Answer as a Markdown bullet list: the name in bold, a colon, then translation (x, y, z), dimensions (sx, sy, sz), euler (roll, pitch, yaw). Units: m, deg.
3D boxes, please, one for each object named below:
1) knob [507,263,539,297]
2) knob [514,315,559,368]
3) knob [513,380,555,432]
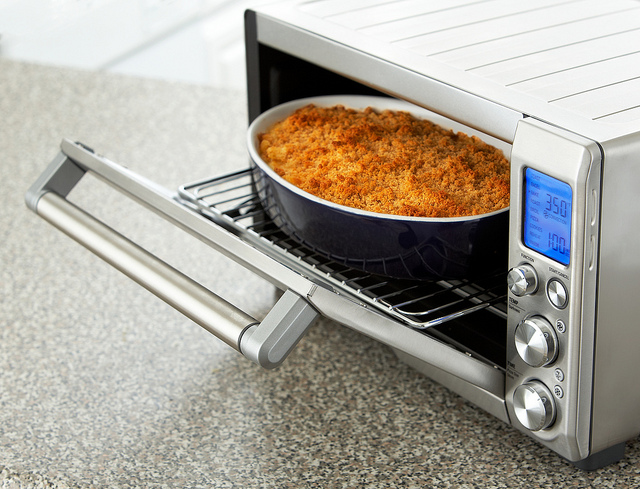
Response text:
- **knob**: translation (0.176, 0.030, 0.544), dimensions (0.016, 0.025, 0.026), euler (-11, 17, -31)
- **knob**: translation (0.190, 0.087, 0.555), dimensions (0.019, 0.041, 0.044), euler (-8, 5, -21)
- **knob**: translation (0.195, 0.145, 0.570), dimensions (0.017, 0.047, 0.051), euler (-20, 22, -35)
